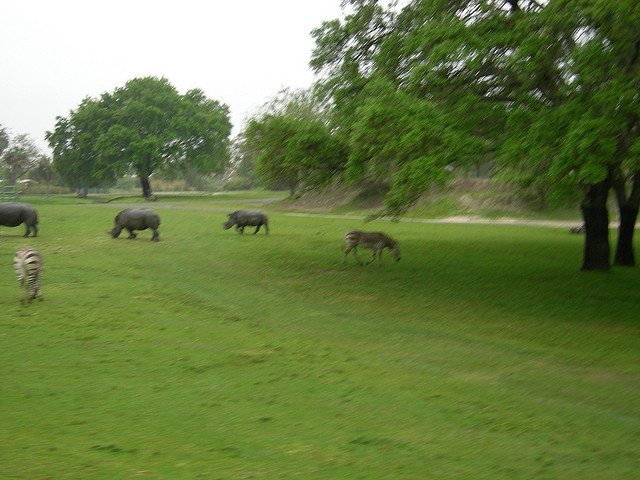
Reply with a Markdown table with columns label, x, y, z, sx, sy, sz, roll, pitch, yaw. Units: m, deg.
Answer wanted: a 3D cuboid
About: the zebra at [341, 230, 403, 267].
| label | x | y | z | sx | sy | sz | roll | pitch | yaw |
| --- | --- | --- | --- | --- | --- | --- | --- | --- | --- |
| zebra | 1.749 | 0.266 | 21.645 | 1.787 | 1.149 | 2.103 | 2 | 3 | -2 |
